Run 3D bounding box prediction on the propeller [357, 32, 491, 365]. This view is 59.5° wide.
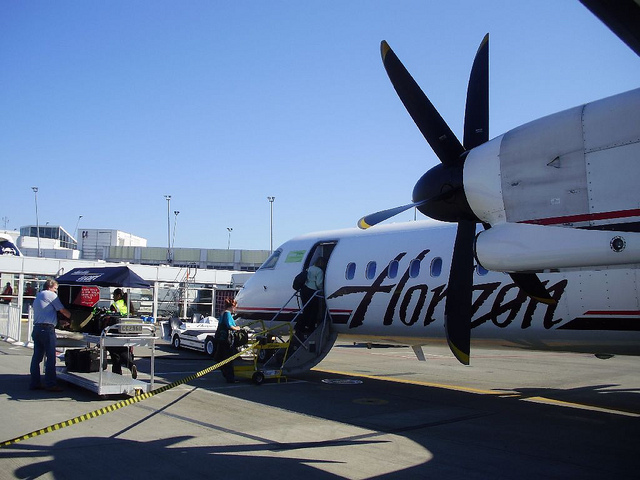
[{"bbox_3d":[2.041,-0.842,9.569,1.615,5.786,1.435,1,-6,16],"label":"propeller"}]

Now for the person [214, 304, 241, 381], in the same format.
[{"bbox_3d":[-2.244,2.563,13.970,1.092,1.967,0.748,1,-1,-19],"label":"person"}]

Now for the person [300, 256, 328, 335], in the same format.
[{"bbox_3d":[-0.064,1.480,14.972,0.583,1.992,0.630,2,1,-37],"label":"person"}]
